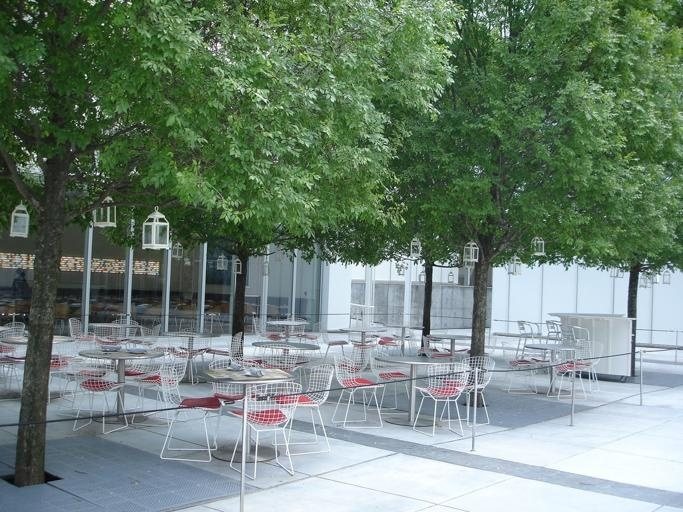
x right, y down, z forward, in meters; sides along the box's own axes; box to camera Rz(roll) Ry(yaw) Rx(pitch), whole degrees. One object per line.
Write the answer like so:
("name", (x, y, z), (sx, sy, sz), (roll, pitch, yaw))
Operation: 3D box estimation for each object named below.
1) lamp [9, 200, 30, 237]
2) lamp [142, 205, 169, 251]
("lamp", (-4.896, -0.541, 9.892), (0.321, 0.535, 0.330), (1, -9, -2))
("lamp", (-2.671, -0.374, 9.314), (0.323, 0.512, 0.334), (-1, 3, -38))
